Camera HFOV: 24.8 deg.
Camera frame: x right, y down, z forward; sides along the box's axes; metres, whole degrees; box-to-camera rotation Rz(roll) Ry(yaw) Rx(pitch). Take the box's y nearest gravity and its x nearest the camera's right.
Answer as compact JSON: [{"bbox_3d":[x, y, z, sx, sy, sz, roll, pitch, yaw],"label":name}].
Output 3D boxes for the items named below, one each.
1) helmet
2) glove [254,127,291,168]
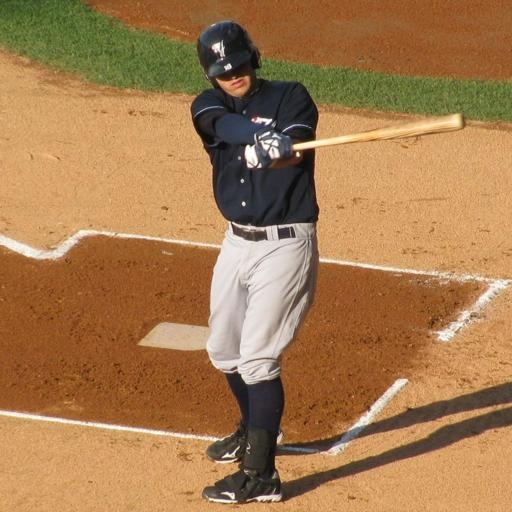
[{"bbox_3d":[-0.228,-1.542,9.141,0.390,0.400,0.528,-16,48,20],"label":"helmet"},{"bbox_3d":[0.111,-0.811,8.731,0.276,0.230,0.215,2,30,-2],"label":"glove"}]
